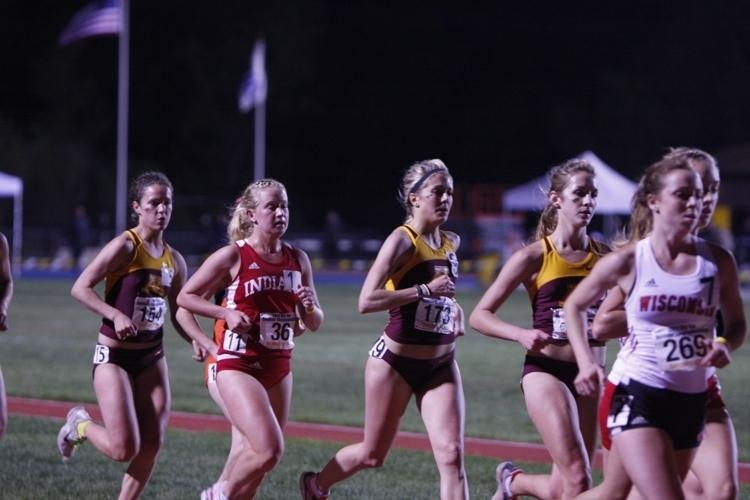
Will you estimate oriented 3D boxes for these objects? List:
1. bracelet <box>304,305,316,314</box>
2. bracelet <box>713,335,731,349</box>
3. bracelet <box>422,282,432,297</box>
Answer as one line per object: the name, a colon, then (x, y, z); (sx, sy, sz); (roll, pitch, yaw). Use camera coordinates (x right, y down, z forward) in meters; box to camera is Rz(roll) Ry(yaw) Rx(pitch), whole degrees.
bracelet: (-0.596, 0.561, 8.827); (0.078, 0.058, 0.075); (1, -1, -33)
bracelet: (2.736, 0.730, 7.536); (0.085, 0.059, 0.088); (-3, -12, 43)
bracelet: (0.466, 0.374, 8.693); (0.075, 0.100, 0.036); (-8, -7, 2)
